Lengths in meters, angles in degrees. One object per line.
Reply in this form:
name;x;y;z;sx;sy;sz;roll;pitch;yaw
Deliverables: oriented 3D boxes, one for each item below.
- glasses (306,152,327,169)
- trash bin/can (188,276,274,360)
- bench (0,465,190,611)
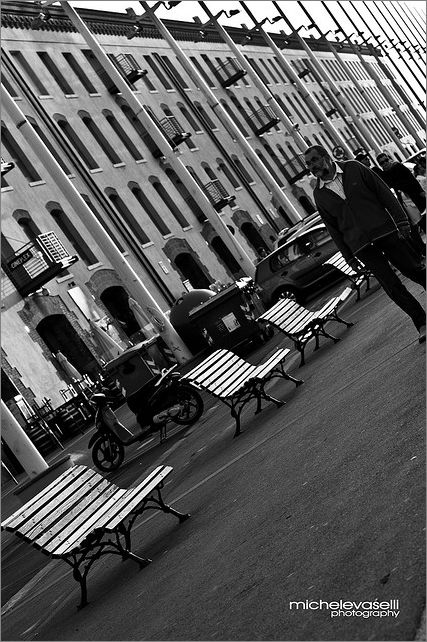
glasses;0.961;-1.489;6.845;0.142;0.047;0.148;-1;31;33
trash bin/can;0.436;-0.156;18.065;2.028;2.252;1.799;-17;-6;14
bench;-0.856;1.550;6.007;1.061;0.520;1.404;-19;-2;23
